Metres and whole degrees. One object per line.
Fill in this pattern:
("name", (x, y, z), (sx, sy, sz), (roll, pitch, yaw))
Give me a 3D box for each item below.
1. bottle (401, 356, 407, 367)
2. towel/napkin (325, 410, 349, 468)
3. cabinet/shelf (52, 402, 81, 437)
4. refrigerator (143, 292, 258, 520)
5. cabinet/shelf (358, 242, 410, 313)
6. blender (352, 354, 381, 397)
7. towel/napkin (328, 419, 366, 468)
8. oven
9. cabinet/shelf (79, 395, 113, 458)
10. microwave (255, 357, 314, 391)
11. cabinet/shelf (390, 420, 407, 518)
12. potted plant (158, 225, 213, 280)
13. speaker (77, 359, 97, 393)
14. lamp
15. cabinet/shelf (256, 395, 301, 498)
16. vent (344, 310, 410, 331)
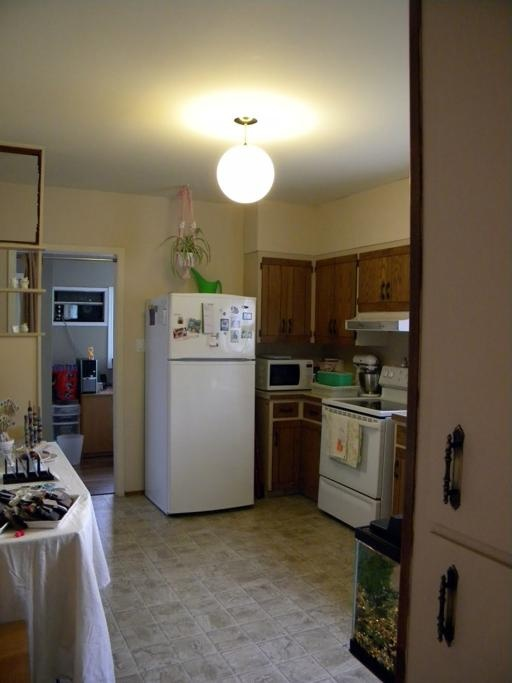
("bottle", (1.191, 0.169, 4.089), (0.036, 0.093, 0.074), (3, 6, 16))
("towel/napkin", (0.612, 0.720, 3.783), (0.032, 0.441, 0.349), (0, 3, -18))
("cabinet/shelf", (-2.179, 0.878, 5.838), (0.276, 0.661, 0.322), (-1, 2, -30))
("refrigerator", (-0.452, 0.485, 4.126), (0.901, 1.141, 0.590), (1, 0, -7))
("cabinet/shelf", (0.993, -0.487, 3.889), (0.193, 0.621, 0.587), (1, 0, -22))
("blender", (0.943, 0.286, 4.300), (0.156, 0.405, 0.313), (0, -1, -9))
("towel/napkin", (0.667, 0.725, 3.660), (0.037, 0.343, 0.312), (1, 3, -17))
("oven", (0.764, 0.842, 3.842), (0.557, 0.915, 0.513), (13, 15, 41))
("cabinet/shelf", (-1.974, 1.016, 5.930), (0.276, 0.695, 0.293), (-14, -4, 26))
("microwave", (0.288, 0.299, 4.598), (0.501, 0.224, 0.143), (1, 0, -27))
("cabinet/shelf", (0.933, 0.817, 3.311), (0.062, 0.613, 0.222), (1, 0, 4))
("potted plant", (-0.614, -0.829, 4.482), (0.261, 0.492, 0.434), (-3, 9, -19))
("speaker", (-1.999, 0.407, 6.055), (0.207, 0.386, 0.346), (1, 0, -23))
("lamp", (-0.059, -0.997, 2.881), (0.300, 0.333, 0.474), (1, 0, -3))
("cabinet/shelf", (0.206, 0.910, 4.483), (0.391, 0.689, 0.236), (1, 0, 6))
("vent", (0.930, -0.150, 3.841), (0.135, 0.151, 0.653), (0, 1, -28))
